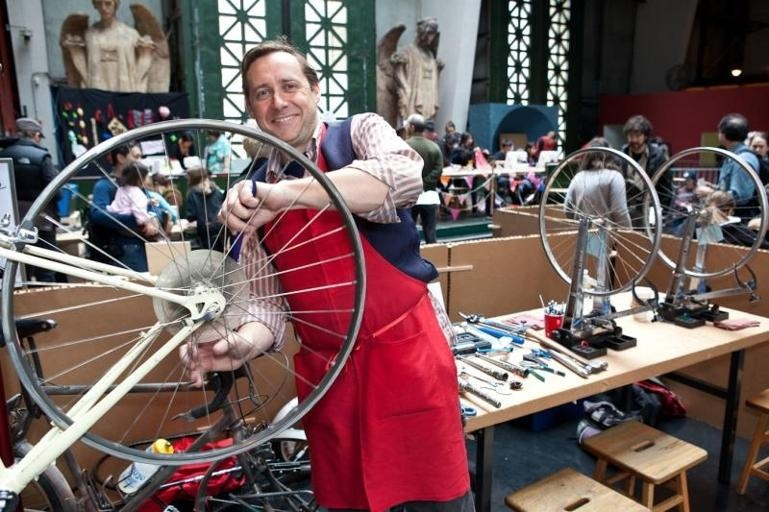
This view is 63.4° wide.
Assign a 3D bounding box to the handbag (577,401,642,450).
[{"bbox_3d":[1.486,1.080,4.191,0.417,0.221,0.362,-5,4,-4],"label":"handbag"}]
